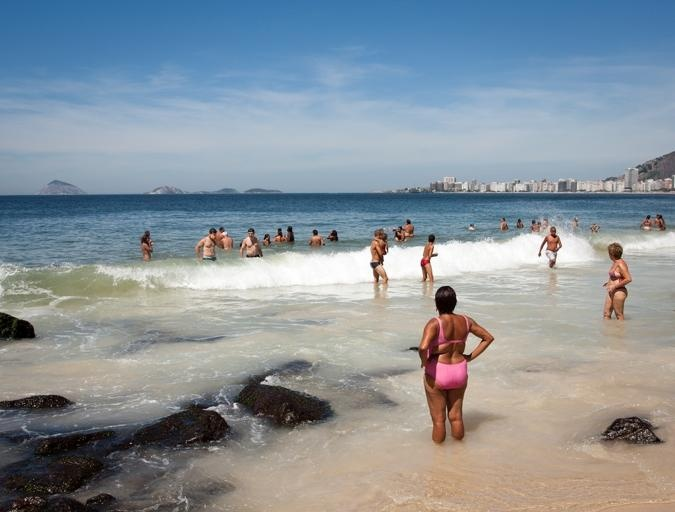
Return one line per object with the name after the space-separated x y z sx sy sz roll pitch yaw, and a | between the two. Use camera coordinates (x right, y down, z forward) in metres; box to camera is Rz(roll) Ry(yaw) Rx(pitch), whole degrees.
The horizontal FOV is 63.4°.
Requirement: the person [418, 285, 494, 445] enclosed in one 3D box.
1.313 1.331 6.407 0.847 1.999 0.579 -10 15 -35 | person

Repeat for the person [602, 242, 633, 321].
5.991 0.570 11.708 0.450 1.778 1.139 6 13 26 | person
